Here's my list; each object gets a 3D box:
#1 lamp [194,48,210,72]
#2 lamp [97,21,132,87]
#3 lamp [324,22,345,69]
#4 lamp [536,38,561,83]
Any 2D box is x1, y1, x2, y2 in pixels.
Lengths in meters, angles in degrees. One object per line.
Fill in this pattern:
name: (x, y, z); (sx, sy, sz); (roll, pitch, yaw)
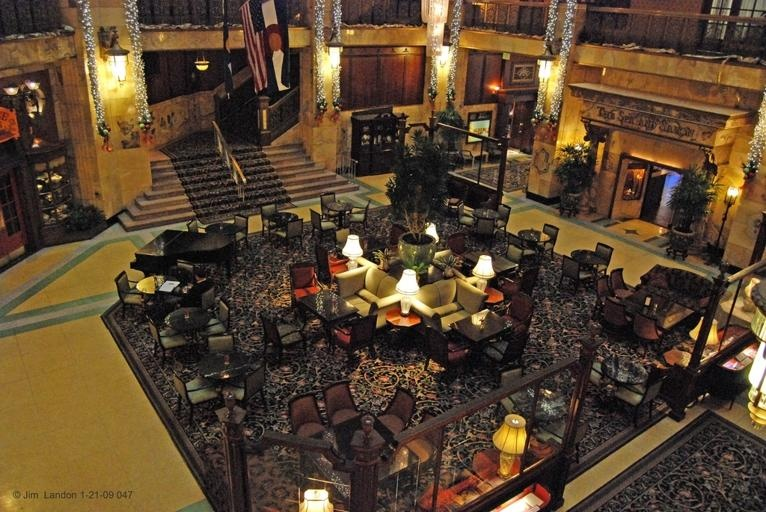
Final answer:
lamp: (-7.340, -7.770, 20.671); (0.615, 0.785, 1.156); (-9, 26, -16)
lamp: (-7.962, -5.918, 15.279); (0.754, 1.638, 0.559); (-20, 34, -32)
lamp: (-1.874, -7.771, 19.011); (0.618, 1.688, 0.555); (-4, 28, -6)
lamp: (5.631, -6.677, 17.640); (0.642, 1.336, 0.719); (19, 33, 33)
